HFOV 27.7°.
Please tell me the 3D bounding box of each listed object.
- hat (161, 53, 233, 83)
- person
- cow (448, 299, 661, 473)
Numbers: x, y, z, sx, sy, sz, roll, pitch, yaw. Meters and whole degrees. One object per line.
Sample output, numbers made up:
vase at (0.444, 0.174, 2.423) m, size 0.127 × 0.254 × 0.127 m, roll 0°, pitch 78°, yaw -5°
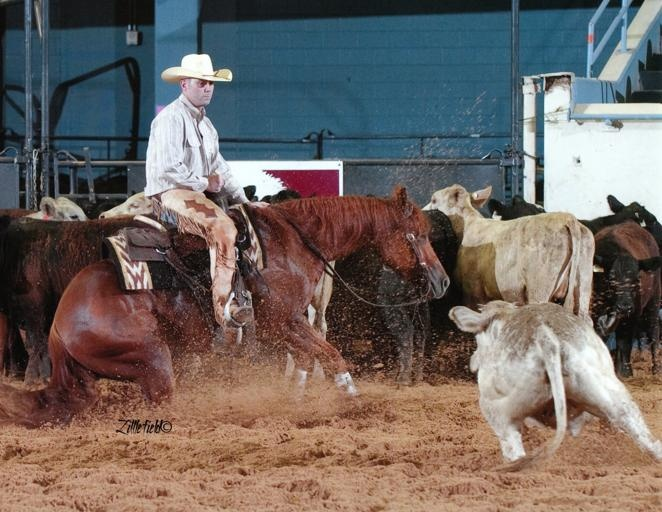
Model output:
hat at (-1.462, -2.002, 14.537) m, size 0.504 × 0.222 × 0.466 m, roll 1°, pitch -1°, yaw -9°
person at (-1.448, -0.723, 14.463) m, size 1.125 × 2.876 × 0.780 m, roll 1°, pitch 6°, yaw 10°
cow at (2.120, 1.175, 13.262) m, size 0.961 × 1.415 × 2.554 m, roll -13°, pitch 6°, yaw -1°
